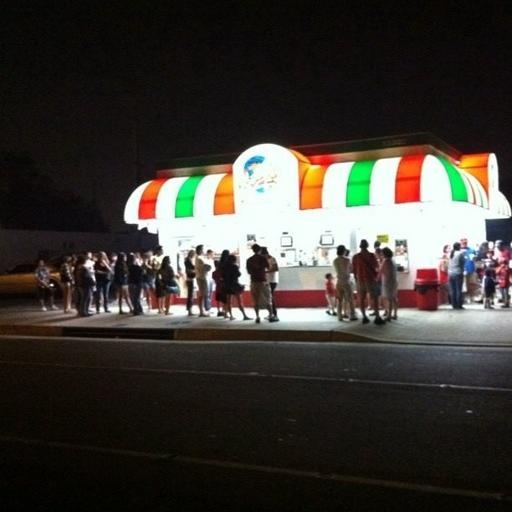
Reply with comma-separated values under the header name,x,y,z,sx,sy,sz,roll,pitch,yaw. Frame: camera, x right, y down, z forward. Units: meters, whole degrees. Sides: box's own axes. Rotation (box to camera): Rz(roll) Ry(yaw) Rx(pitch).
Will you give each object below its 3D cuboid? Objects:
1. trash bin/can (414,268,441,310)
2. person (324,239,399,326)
name,x,y,z,sx,sy,sz,roll,pitch,yaw
trash bin/can,5.141,0.997,15.515,0.680,1.249,0.388,-2,-3,19
person,2.595,0.614,12.834,0.765,2.047,1.392,1,-3,-38
